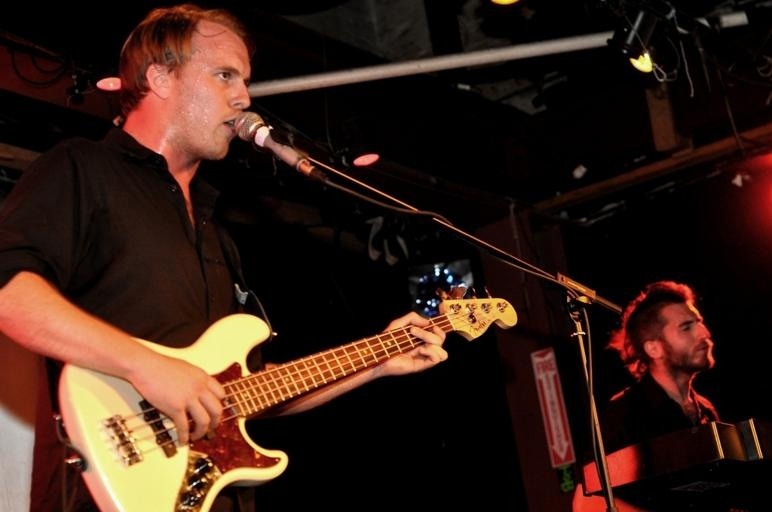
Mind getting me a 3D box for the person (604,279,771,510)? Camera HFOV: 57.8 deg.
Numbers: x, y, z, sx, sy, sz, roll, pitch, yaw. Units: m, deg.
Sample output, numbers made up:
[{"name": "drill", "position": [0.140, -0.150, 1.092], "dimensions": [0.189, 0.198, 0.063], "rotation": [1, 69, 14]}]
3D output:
[{"name": "person", "position": [2.696, 1.054, 6.988], "dimensions": [1.106, 1.630, 0.640], "rotation": [-8, -10, 22]}]
